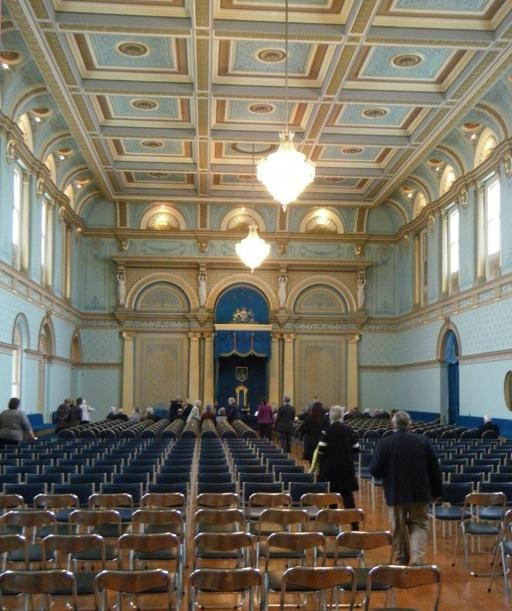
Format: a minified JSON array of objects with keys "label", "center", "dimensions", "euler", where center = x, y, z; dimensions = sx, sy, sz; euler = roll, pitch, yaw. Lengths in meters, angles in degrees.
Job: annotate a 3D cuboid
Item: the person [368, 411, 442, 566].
[{"label":"person","center":[1.447,1.726,5.769],"dimensions":[0.557,1.408,0.460],"euler":[-10,-17,39]}]
